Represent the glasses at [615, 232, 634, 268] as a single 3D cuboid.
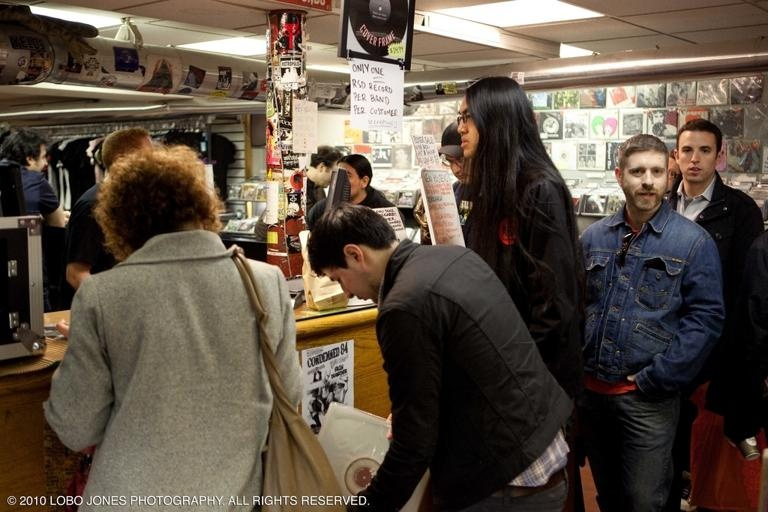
[{"bbox_3d":[1.324,-0.025,3.233,0.059,0.169,0.124,17,5,-11],"label":"glasses"}]
